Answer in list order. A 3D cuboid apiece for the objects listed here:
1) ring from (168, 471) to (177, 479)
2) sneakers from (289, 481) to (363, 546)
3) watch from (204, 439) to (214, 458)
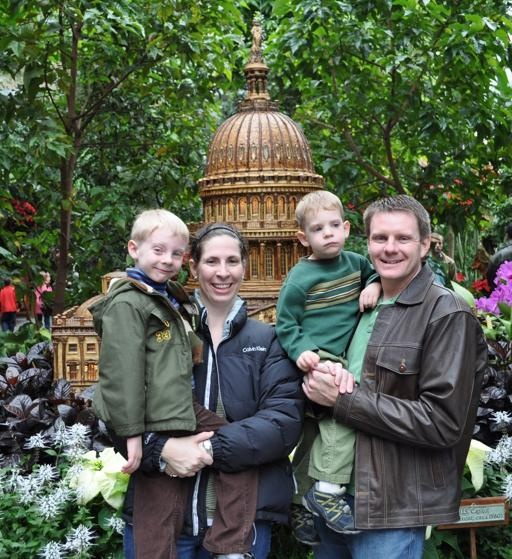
[{"bbox_3d":[-0.399,0.944,3.491,0.024,0.043,0.031,-46,0,-6],"label":"ring"},{"bbox_3d":[0.336,1.216,3.807,0.556,0.270,0.192,3,-4,45],"label":"sneakers"},{"bbox_3d":[-0.228,0.805,3.466,0.044,0.071,0.017,0,-5,-5],"label":"watch"}]
